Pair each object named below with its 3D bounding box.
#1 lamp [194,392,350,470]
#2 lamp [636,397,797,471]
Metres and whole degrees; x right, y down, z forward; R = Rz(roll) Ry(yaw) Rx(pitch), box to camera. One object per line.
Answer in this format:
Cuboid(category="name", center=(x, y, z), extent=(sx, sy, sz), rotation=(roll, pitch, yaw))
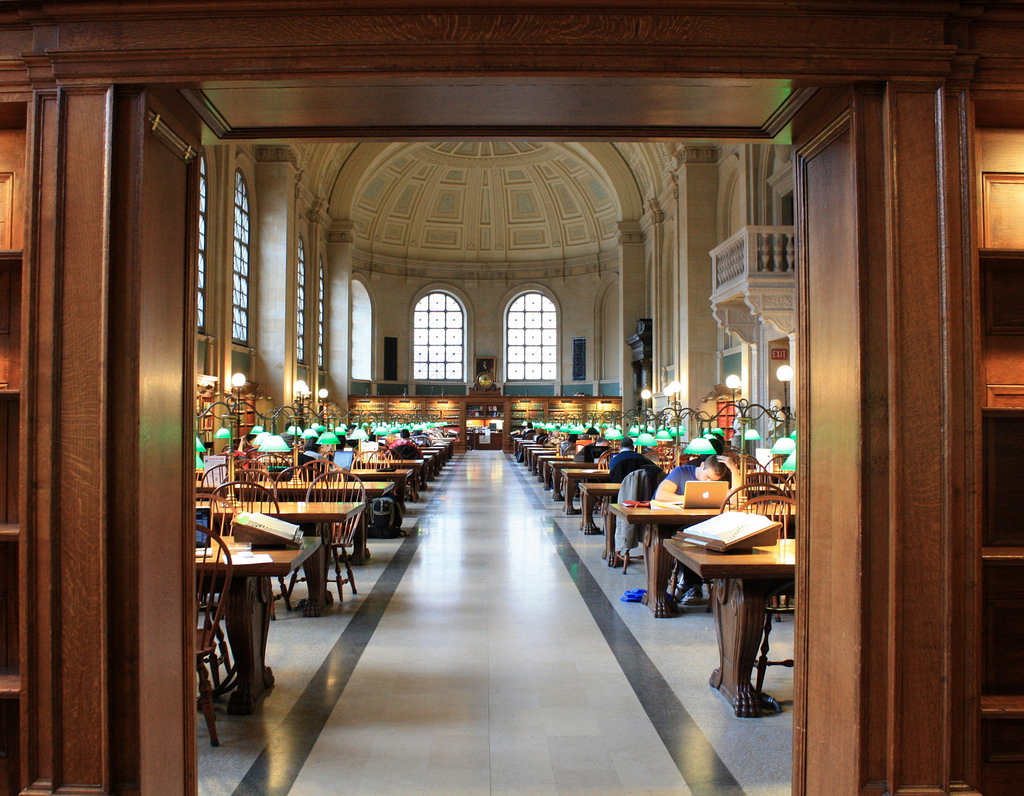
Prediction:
Cuboid(category="lamp", center=(-4.401, 0.475, 17.778), extent=(2.703, 0.775, 1.673), rotation=(1, -1, 4))
Cuboid(category="lamp", center=(3.198, 0.468, 13.844), extent=(1.959, 0.790, 1.563), rotation=(0, 1, -20))
